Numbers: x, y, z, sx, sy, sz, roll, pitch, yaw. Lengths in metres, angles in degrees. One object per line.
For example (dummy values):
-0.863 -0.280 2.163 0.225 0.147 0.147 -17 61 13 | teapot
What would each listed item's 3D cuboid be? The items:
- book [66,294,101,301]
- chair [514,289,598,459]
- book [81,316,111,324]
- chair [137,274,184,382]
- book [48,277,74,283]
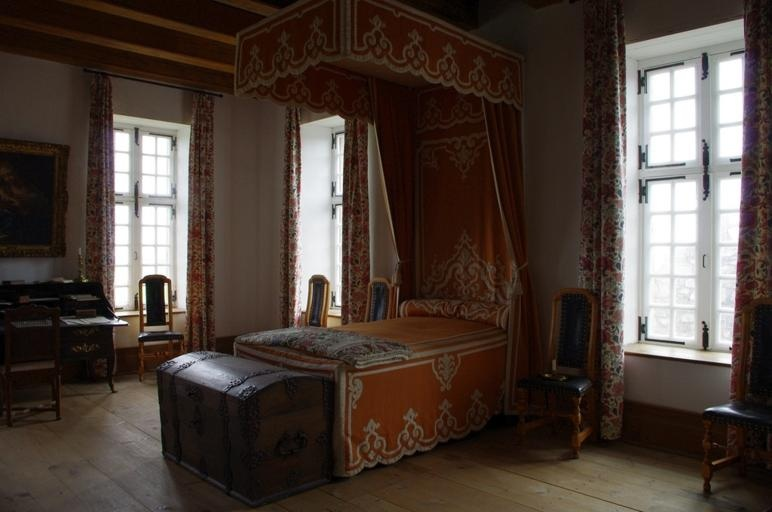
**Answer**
-3.850 0.544 7.236 0.371 0.084 0.112 -5 9 -34 | book
1.777 1.109 5.739 0.705 1.512 0.857 4 8 28 | chair
-3.535 0.797 6.949 0.313 0.046 0.442 -5 9 -32 | book
-3.251 0.956 8.186 0.651 1.405 1.102 -3 8 -22 | chair
-4.202 0.314 7.386 0.279 0.046 0.357 -4 8 -26 | book
